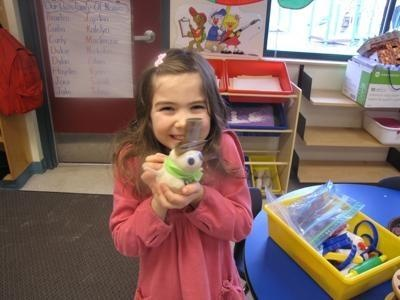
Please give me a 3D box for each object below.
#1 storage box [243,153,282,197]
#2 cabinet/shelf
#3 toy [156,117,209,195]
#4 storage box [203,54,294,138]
[{"bbox_3d":[0.619,0.122,2.899,0.337,0.175,0.521,2,46,-4],"label":"storage box"},{"bbox_3d":[0.504,-0.047,2.813,0.606,1.133,0.561,0,23,1],"label":"cabinet/shelf"},{"bbox_3d":[-0.048,0.013,0.773,0.127,0.166,0.093,-4,24,-14],"label":"toy"},{"bbox_3d":[0.456,-0.586,2.645,0.645,0.424,0.673,2,39,-5],"label":"storage box"}]
